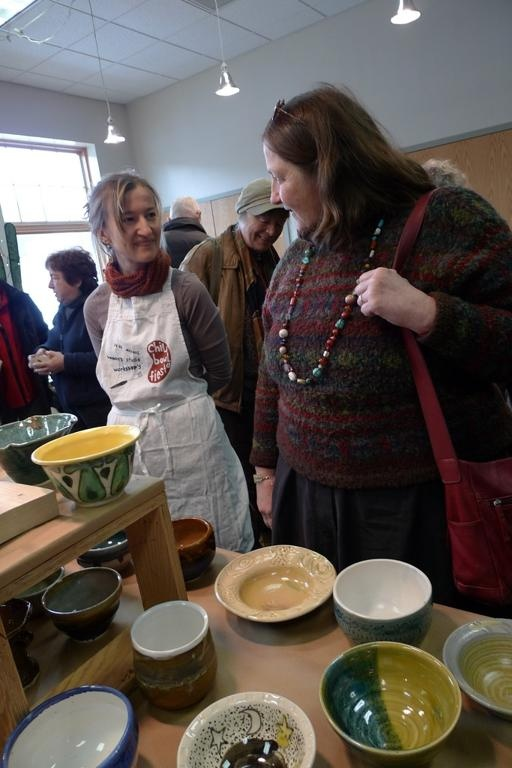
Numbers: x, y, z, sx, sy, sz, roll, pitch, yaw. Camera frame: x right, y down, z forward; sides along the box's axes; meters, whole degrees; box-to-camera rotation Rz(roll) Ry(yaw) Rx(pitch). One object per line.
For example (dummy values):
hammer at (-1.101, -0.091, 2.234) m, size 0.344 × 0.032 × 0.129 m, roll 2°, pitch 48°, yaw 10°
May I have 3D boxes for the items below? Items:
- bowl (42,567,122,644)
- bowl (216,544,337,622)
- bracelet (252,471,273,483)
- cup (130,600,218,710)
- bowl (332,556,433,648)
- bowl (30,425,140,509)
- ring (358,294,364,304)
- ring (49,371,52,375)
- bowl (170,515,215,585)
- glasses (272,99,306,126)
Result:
bowl at (-0.263, 0.339, 0.767) m, size 0.114 × 0.067 × 0.114 m, roll -3°, pitch 10°, yaw 1°
bowl at (0.030, 0.328, 0.814) m, size 0.168 × 0.044 × 0.173 m, roll 5°, pitch 15°, yaw -1°
bracelet at (0.017, 0.255, 1.376) m, size 0.038 × 0.016 × 0.029 m, roll -3°, pitch -3°, yaw -14°
cup at (-0.110, 0.332, 0.665) m, size 0.111 × 0.101 × 0.108 m, roll -8°, pitch 9°, yaw 1°
bowl at (0.166, 0.292, 0.670) m, size 0.105 × 0.079 × 0.111 m, roll -7°, pitch 10°, yaw 1°
bowl at (-0.217, 0.111, 0.667) m, size 0.135 × 0.083 × 0.139 m, roll -7°, pitch 11°, yaw 1°
ring at (0.180, -0.147, 0.883) m, size 0.013 × 0.013 × 0.013 m, roll 0°, pitch 8°, yaw 0°
ring at (-1.063, -0.057, 2.613) m, size 0.011 × 0.017 × 0.011 m, roll 1°, pitch 19°, yaw 0°
bowl at (-0.128, 0.300, 0.920) m, size 0.097 × 0.071 × 0.096 m, roll -5°, pitch 17°, yaw 2°
glasses at (0.072, -0.520, 0.986) m, size 0.066 × 0.021 × 0.062 m, roll 10°, pitch 17°, yaw -16°
